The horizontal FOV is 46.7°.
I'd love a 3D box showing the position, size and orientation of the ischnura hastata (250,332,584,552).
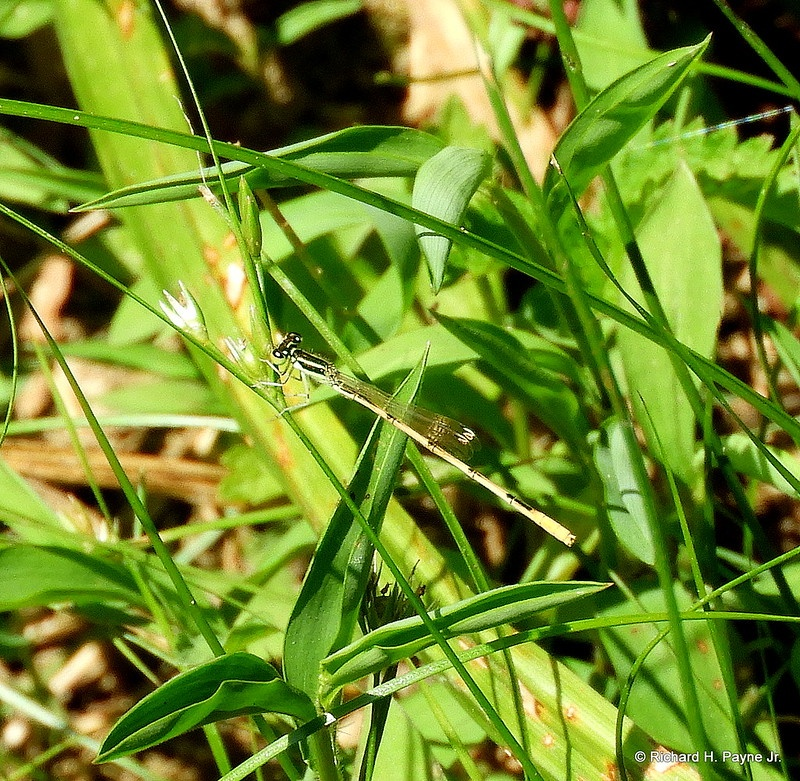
[{"bbox_3d":[0.028,0.064,1.205,0.411,0.091,0.095,35,79,-17],"label":"ischnura hastata"}]
